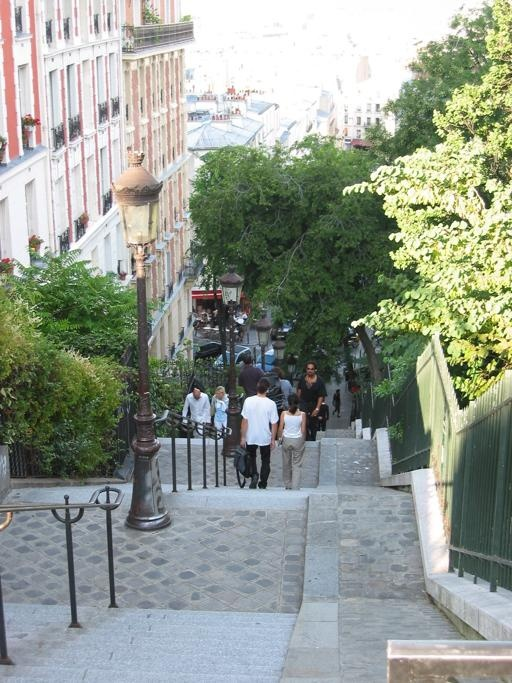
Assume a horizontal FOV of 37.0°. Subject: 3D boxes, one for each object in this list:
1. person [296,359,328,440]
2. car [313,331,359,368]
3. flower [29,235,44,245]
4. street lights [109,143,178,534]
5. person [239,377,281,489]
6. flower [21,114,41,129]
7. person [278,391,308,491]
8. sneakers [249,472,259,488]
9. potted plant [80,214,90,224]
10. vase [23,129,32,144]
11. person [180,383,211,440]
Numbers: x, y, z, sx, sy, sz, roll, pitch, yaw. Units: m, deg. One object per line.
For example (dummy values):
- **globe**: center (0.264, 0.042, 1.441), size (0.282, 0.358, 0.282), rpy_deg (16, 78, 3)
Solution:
- **person**: center (0.950, 1.109, 13.743), size (0.633, 1.479, 0.463), rpy_deg (5, 13, 17)
- **car**: center (3.034, 0.393, 28.826), size (1.806, 1.211, 1.795), rpy_deg (-7, 15, -11)
- **flower**: center (-5.796, -2.681, 20.320), size (0.351, 0.223, 0.370), rpy_deg (-13, 25, -32)
- **street lights**: center (-1.053, -0.029, 7.113), size (0.481, 3.514, 0.442), rpy_deg (-1, 2, -11)
- **person**: center (0.039, 1.144, 9.339), size (0.432, 1.390, 0.593), rpy_deg (0, 2, 1)
- **flower**: center (-6.088, -5.986, 20.698), size (0.492, 0.499, 0.435), rpy_deg (1, -1, 2)
- **person**: center (0.449, 1.277, 9.525), size (0.328, 1.204, 0.843), rpy_deg (0, 2, 1)
- **sneakers**: center (-0.020, 1.759, 9.513), size (0.082, 0.228, 0.162), rpy_deg (11, 13, 2)
- **potted plant**: center (-5.800, -4.189, 25.939), size (0.302, 0.368, 0.263), rpy_deg (-5, -1, -3)
- **vase**: center (-6.194, -5.558, 20.835), size (0.245, 0.477, 0.655), rpy_deg (-1, 2, -15)
- **person**: center (-1.015, 1.388, 13.601), size (0.527, 1.263, 0.415), rpy_deg (12, 33, 21)
